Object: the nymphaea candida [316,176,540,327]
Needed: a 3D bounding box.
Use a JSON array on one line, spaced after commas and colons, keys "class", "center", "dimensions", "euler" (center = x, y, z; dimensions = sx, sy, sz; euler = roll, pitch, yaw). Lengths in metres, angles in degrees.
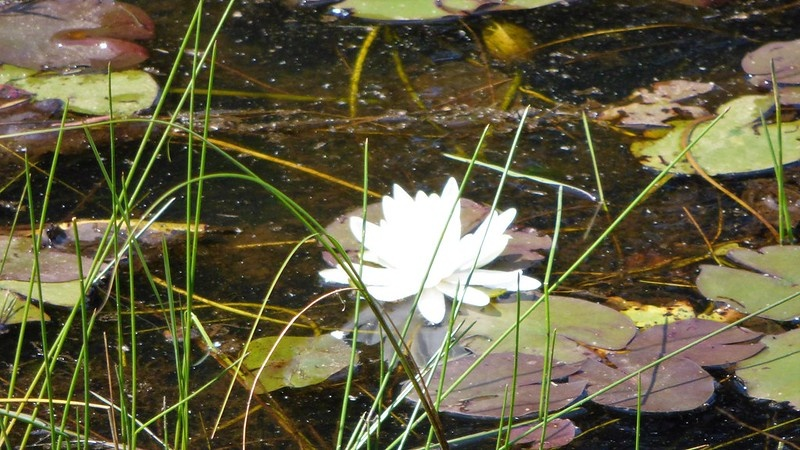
[{"class": "nymphaea candida", "center": [0.048, 0.071, 2.066], "dimensions": [0.532, 0.340, 0.308], "euler": [-10, 12, 9]}]
